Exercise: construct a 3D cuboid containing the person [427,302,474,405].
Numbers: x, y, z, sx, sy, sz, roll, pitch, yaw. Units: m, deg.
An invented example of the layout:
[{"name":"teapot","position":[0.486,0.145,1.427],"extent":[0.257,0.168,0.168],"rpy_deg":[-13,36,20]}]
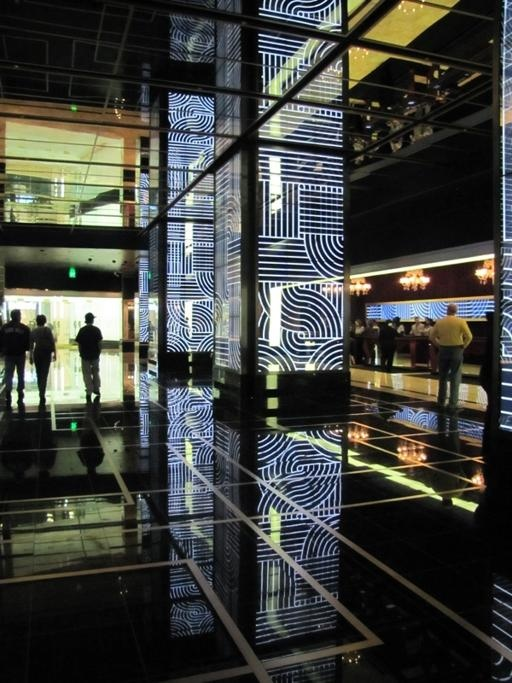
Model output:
[{"name":"person","position":[2.599,0.209,8.411],"extent":[0.407,1.415,0.636],"rpy_deg":[0,1,-2]}]
